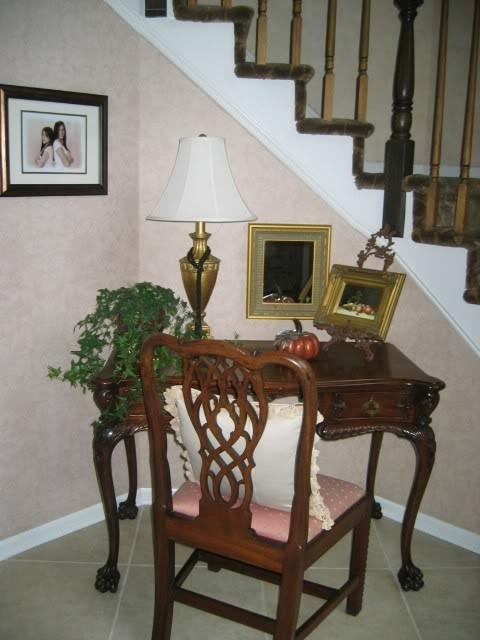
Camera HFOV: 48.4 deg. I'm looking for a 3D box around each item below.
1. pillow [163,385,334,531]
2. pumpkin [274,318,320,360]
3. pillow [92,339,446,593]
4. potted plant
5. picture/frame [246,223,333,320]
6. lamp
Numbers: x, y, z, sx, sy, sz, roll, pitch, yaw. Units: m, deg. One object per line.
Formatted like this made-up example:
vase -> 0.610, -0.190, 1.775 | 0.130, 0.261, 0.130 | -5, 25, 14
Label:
pillow -> 0.020, 0.331, 1.335 | 0.441, 0.398, 0.357 | 4, 14, 12
pumpkin -> 0.203, 0.076, 1.872 | 0.142, 0.139, 0.142 | 0, 7, -30
pillow -> 0.069, 0.513, 1.990 | 1.127, 0.772, 0.620 | 1, 9, 0
potted plant -> -0.225, 0.039, 1.830 | 0.564, 0.676, 0.497 | 3, 13, 5
picture/frame -> 0.198, -0.196, 2.227 | 0.320, 0.407, 0.018 | 2, -10, 8
lamp -> -0.139, -0.260, 1.758 | 0.305, 0.668, 0.398 | -10, 17, -38
